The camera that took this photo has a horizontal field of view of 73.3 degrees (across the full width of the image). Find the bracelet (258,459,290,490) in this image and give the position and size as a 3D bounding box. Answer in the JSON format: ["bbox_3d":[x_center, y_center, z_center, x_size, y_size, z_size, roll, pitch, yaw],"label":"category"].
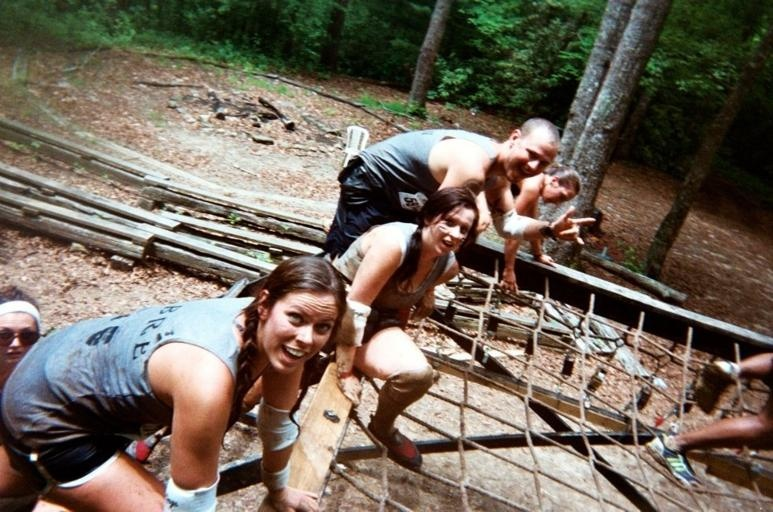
[{"bbox_3d":[-0.785,1.497,3.595,0.196,0.133,0.179,0,2,0],"label":"bracelet"}]
